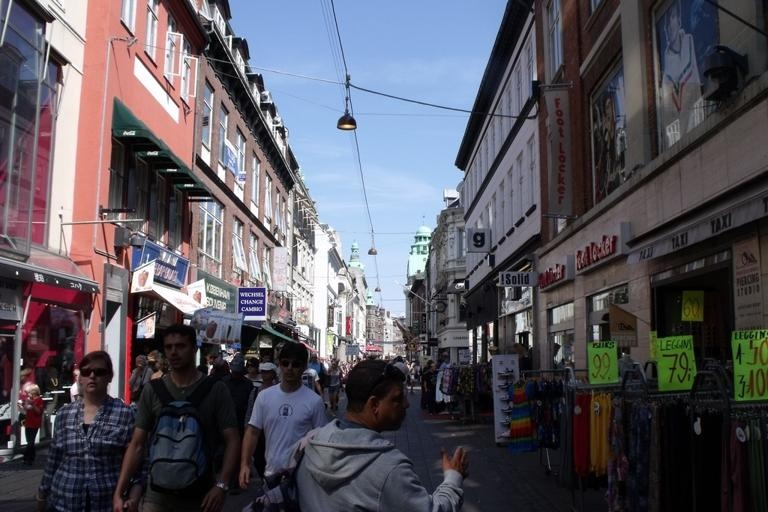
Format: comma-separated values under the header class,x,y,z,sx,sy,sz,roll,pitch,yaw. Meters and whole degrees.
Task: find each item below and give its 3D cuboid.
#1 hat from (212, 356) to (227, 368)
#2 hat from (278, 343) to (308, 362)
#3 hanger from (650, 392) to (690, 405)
class,x,y,z,sx,sy,sz,roll,pitch,yaw
hat,-3.087,2.008,13.084,0.154,0.236,0.250,8,-59,-8
hat,-1.149,1.222,9.026,0.233,0.323,0.337,2,-1,3
hanger,3.673,1.853,9.025,0.357,0.142,0.480,11,-23,-30
